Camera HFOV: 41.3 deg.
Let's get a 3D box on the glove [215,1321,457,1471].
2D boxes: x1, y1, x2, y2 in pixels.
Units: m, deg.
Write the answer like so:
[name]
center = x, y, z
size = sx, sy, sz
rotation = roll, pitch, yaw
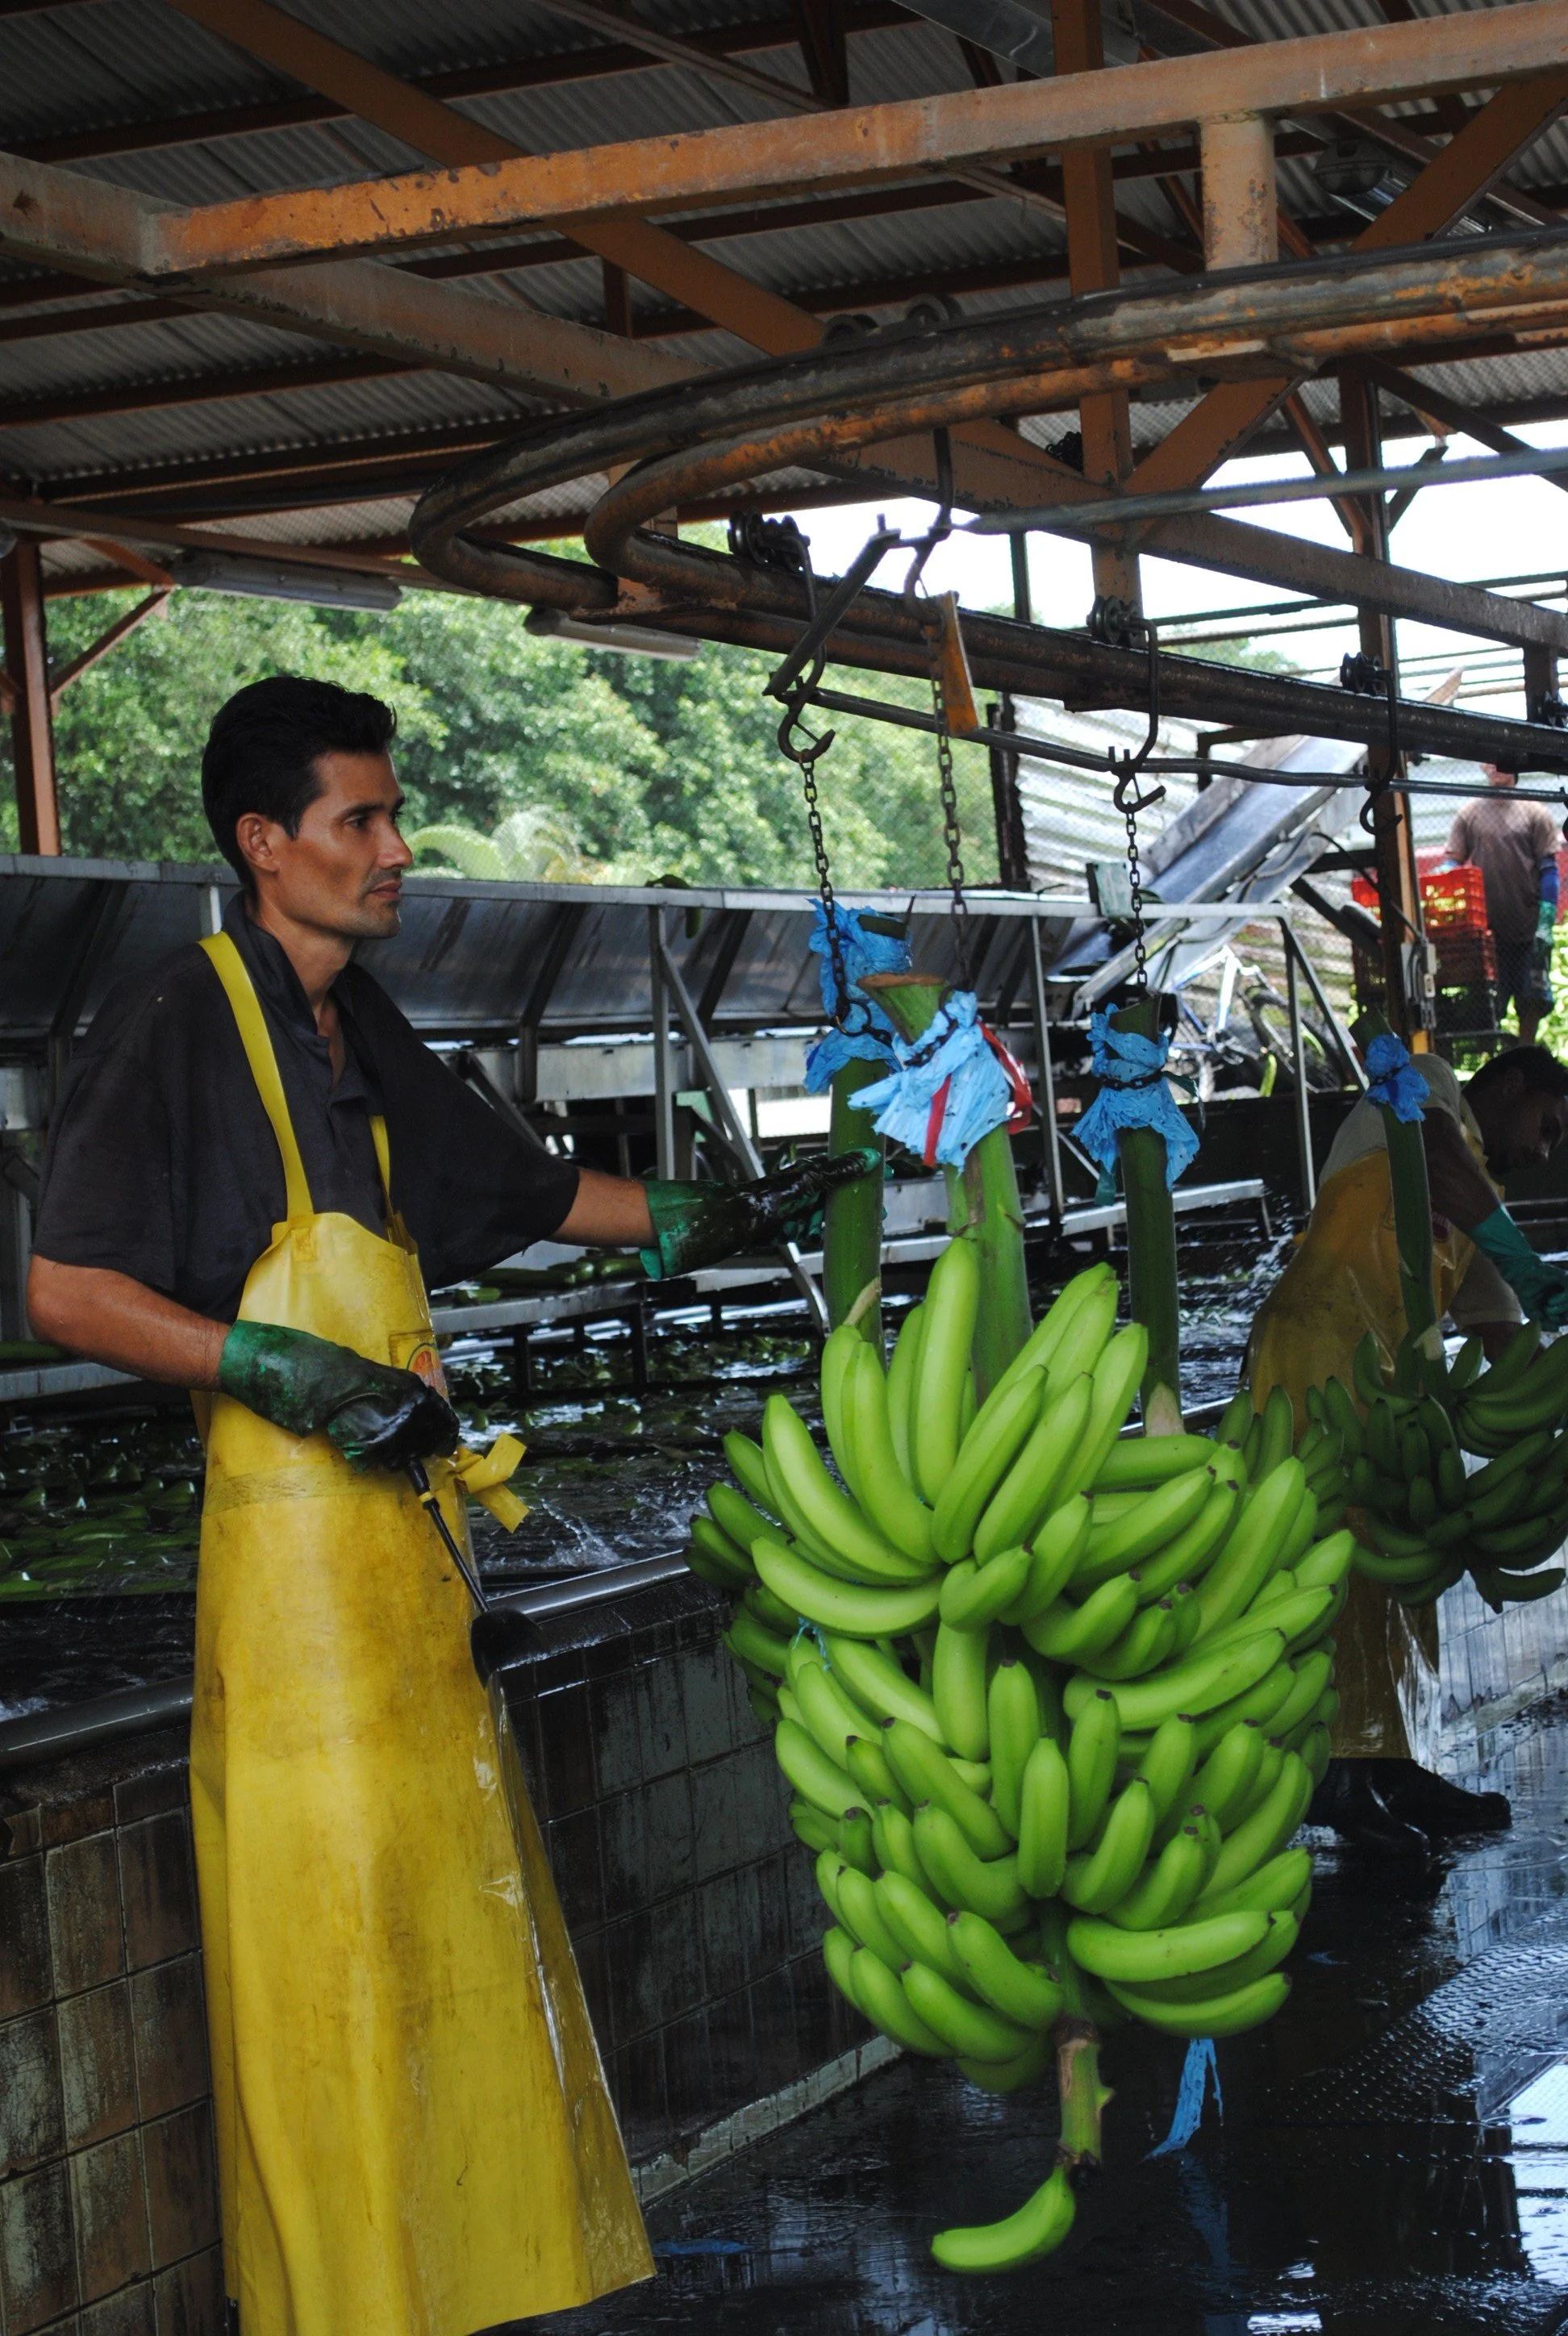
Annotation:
[glove]
center = -0.419, 0.222, 1.973
size = 0.208, 0.113, 0.075
rotation = 21, -25, 5
